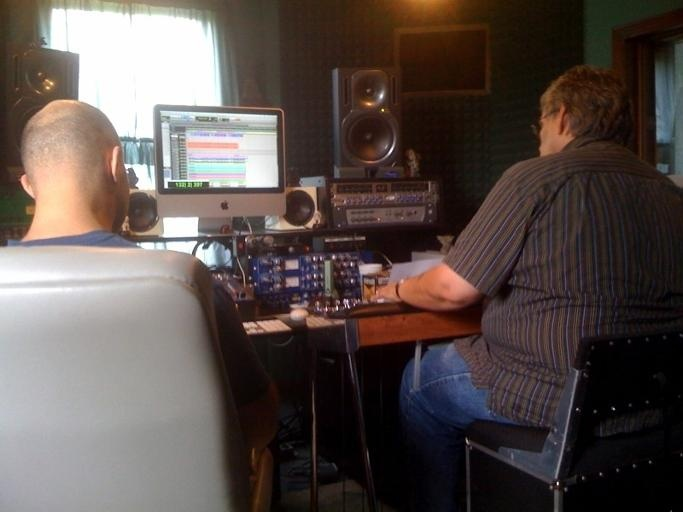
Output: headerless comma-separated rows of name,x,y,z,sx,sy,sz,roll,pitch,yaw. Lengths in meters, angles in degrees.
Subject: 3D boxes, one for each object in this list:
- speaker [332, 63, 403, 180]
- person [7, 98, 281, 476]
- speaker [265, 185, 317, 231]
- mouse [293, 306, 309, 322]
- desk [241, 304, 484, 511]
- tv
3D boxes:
speaker,0.134,-0.618,3.066,0.312,0.550,0.291,0,-8,-4
person,-0.627,0.037,1.561,0.831,0.793,0.433,-4,9,6
speaker,-0.211,-0.224,2.823,0.194,0.200,0.149,-5,12,-18
mouse,-0.144,0.194,2.059,0.038,0.028,0.039,4,11,5
desk,0.036,0.568,2.383,0.683,0.900,0.893,0,-4,-12
tv,-0.520,-0.368,2.627,0.562,0.498,0.181,-1,-2,-22
